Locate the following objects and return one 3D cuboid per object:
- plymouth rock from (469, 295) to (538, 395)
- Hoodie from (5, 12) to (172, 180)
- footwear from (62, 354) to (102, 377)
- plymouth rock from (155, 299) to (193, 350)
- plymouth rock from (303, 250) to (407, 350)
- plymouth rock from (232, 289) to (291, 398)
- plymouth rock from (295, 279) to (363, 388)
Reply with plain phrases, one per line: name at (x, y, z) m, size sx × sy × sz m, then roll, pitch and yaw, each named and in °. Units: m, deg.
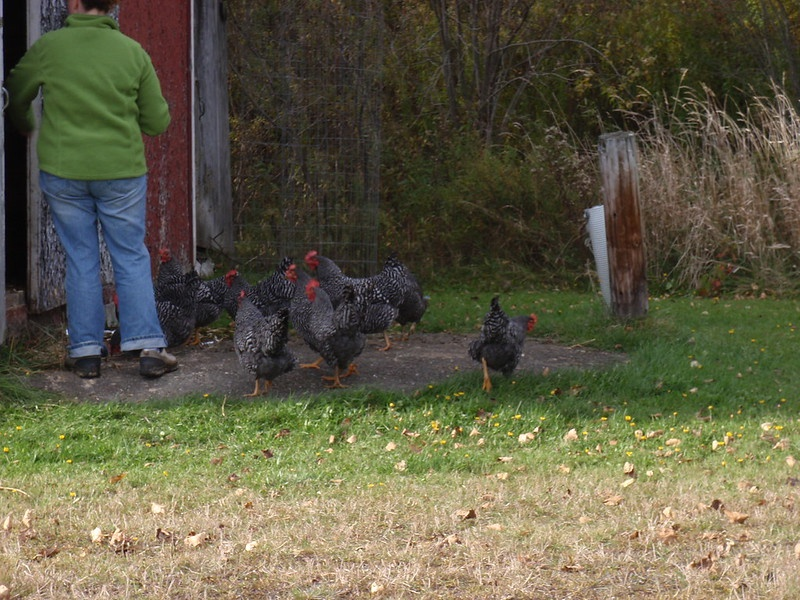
plymouth rock at (1.123, 0.420, 13.742) m, size 0.432 × 0.757 × 0.993 m, roll 9°, pitch 8°, yaw 10°
Hoodie at (-2.843, -1.819, 13.195) m, size 1.403 × 1.509 × 0.314 m, roll -5°, pitch 4°, yaw -14°
footwear at (-2.926, 0.611, 13.370) m, size 0.151 × 0.170 × 0.408 m, roll -3°, pitch 11°, yaw -35°
plymouth rock at (-2.177, 0.260, 14.044) m, size 0.350 × 0.448 × 0.431 m, roll -1°, pitch -1°, yaw 0°
plymouth rock at (-0.468, 0.014, 14.872) m, size 1.142 × 1.152 × 0.644 m, roll -7°, pitch 13°, yaw -22°
plymouth rock at (-1.267, 0.474, 13.361) m, size 0.485 × 0.785 × 0.687 m, roll -5°, pitch 5°, yaw -23°
plymouth rock at (-0.608, 0.331, 13.581) m, size 0.489 × 0.943 × 0.778 m, roll -5°, pitch 5°, yaw -12°
